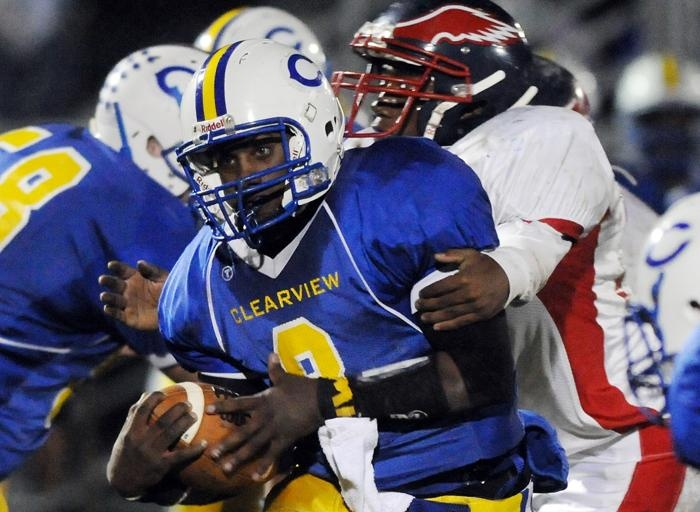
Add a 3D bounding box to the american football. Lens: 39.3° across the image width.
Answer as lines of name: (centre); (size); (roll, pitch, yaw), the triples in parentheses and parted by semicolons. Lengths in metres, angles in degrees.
american football: (-0.478, 0.611, 3.416); (0.437, 0.240, 0.316); (25, -3, -1)
